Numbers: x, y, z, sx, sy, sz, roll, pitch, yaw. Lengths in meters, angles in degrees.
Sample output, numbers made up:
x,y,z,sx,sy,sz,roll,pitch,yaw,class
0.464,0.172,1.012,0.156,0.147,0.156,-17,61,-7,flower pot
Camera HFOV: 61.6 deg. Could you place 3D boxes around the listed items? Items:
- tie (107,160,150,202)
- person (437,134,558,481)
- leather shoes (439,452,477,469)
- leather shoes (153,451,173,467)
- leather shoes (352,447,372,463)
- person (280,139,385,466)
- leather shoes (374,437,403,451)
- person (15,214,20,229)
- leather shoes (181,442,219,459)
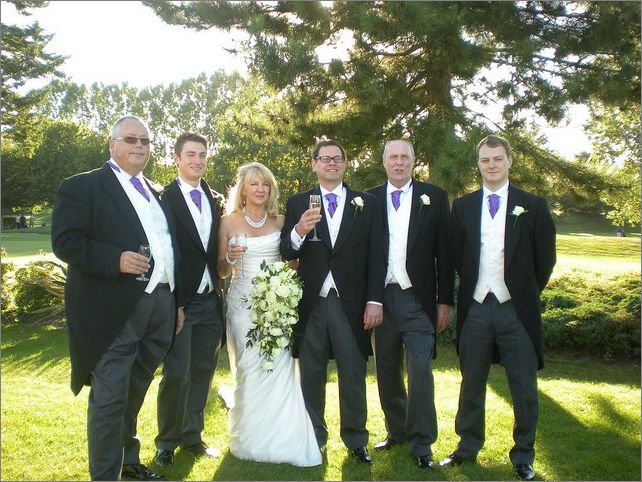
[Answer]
x,y,z,sx,sy,sz,roll,pitch,yaw,class
-1.982,-0.605,5.467,0.122,0.469,0.121,-39,10,-1,tie
1.890,0.666,5.770,1.077,3.549,0.732,3,6,22,person
1.453,2.366,5.788,0.425,0.191,0.150,5,-13,-2,leather shoes
-1.703,2.350,5.821,0.183,0.188,0.126,0,-12,-3,leather shoes
0.440,2.340,5.881,0.228,0.129,0.151,1,6,4,leather shoes
0.140,0.627,6.034,1.131,3.501,0.714,1,6,8,person
0.757,2.310,6.145,0.339,0.151,0.130,3,-8,-4,leather shoes
-27.493,-1.777,48.697,0.421,1.077,1.320,-3,7,-31,person
-1.338,2.342,6.084,0.434,0.110,0.220,1,6,8,leather shoes
